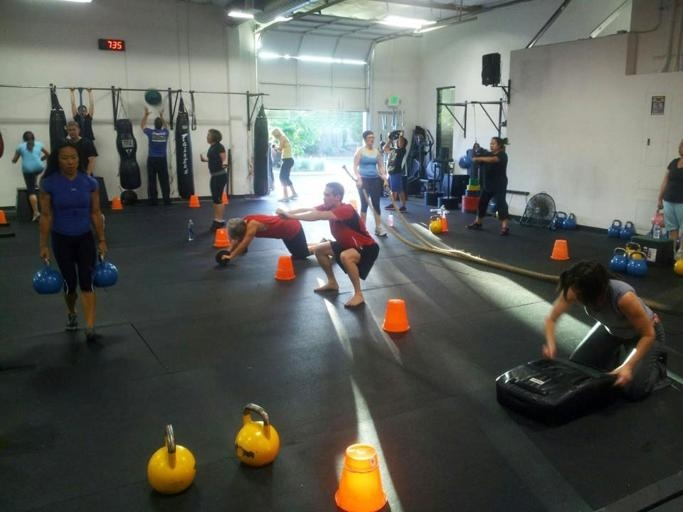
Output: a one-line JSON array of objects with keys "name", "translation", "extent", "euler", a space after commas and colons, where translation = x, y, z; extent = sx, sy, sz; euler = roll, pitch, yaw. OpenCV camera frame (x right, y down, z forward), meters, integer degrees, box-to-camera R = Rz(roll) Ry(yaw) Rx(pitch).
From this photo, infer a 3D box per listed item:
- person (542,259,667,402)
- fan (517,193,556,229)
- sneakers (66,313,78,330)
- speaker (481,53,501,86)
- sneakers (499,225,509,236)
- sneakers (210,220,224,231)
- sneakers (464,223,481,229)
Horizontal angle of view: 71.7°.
[{"name": "person", "translation": [1.955, 0.508, 3.391], "extent": [0.988, 1.036, 0.535], "euler": [-6, 15, -22]}, {"name": "fan", "translation": [4.074, -0.954, 9.734], "extent": [0.615, 0.814, 0.455], "euler": [11, 4, 35]}, {"name": "sneakers", "translation": [-2.604, 0.632, 4.585], "extent": [0.102, 0.155, 0.120], "euler": [-10, 17, -36]}, {"name": "speaker", "translation": [3.420, -4.224, 10.711], "extent": [0.374, 0.705, 0.232], "euler": [3, 14, 12]}, {"name": "sneakers", "translation": [3.121, -0.496, 8.994], "extent": [0.163, 0.160, 0.321], "euler": [5, 16, 20]}, {"name": "sneakers", "translation": [-2.296, -0.557, 8.883], "extent": [0.238, 0.232, 0.549], "euler": [-5, 16, -18]}, {"name": "sneakers", "translation": [2.691, -0.615, 9.480], "extent": [0.280, 0.135, 0.266], "euler": [4, 15, 13]}]
